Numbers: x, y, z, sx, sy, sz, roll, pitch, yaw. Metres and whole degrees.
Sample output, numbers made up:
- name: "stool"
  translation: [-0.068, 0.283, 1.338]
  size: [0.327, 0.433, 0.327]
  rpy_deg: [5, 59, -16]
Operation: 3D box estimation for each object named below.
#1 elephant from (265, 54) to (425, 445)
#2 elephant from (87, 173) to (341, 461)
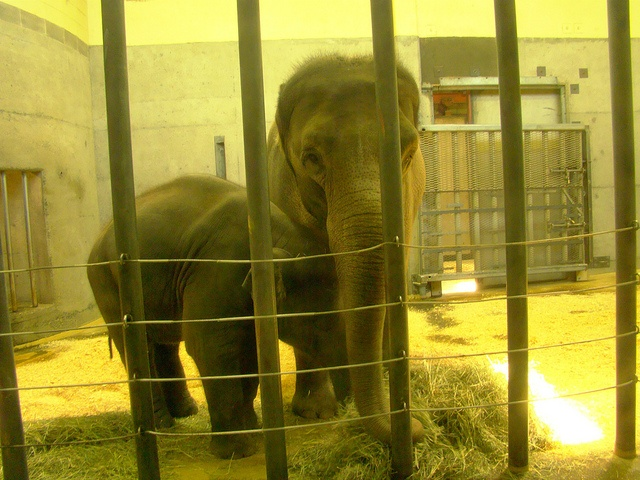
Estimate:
- name: "elephant"
  translation: [0.228, 0.048, 3.680]
  size: [0.643, 2.158, 1.181]
  rpy_deg: [-5, 5, -32]
- name: "elephant"
  translation: [-0.569, 0.476, 4.321]
  size: [1.944, 1.853, 0.940]
  rpy_deg: [12, 21, 19]
